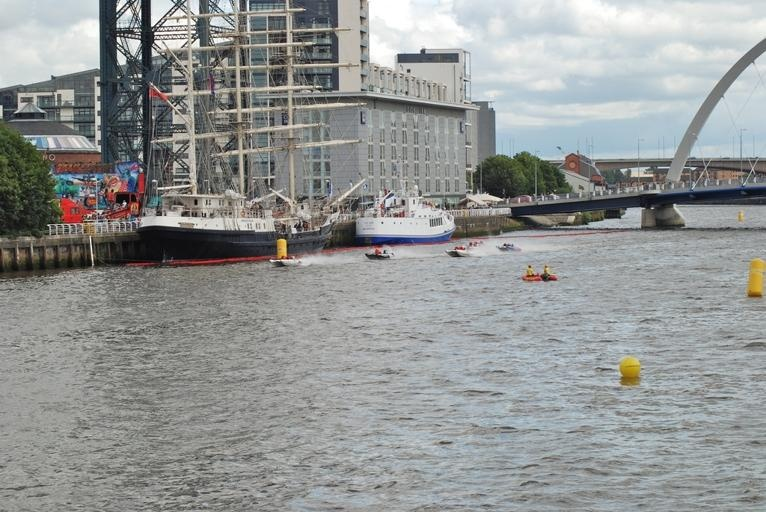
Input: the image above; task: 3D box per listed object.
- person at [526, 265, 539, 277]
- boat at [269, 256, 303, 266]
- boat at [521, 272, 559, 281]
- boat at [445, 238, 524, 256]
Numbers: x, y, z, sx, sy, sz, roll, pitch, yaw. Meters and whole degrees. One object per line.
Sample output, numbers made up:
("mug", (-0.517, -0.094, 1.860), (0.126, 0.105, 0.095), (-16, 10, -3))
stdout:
("person", (13.110, 1.380, 123.025), (0.695, 0.812, 1.558), (4, 4, 41))
("boat", (-9.194, 0.619, 135.800), (1.192, 0.791, 3.655), (3, 5, 22))
("boat", (13.248, 1.880, 118.474), (3.040, 0.577, 2.641), (3, 11, -2))
("boat", (11.263, -0.896, 155.508), (8.113, 1.663, 2.078), (-4, 7, -42))
